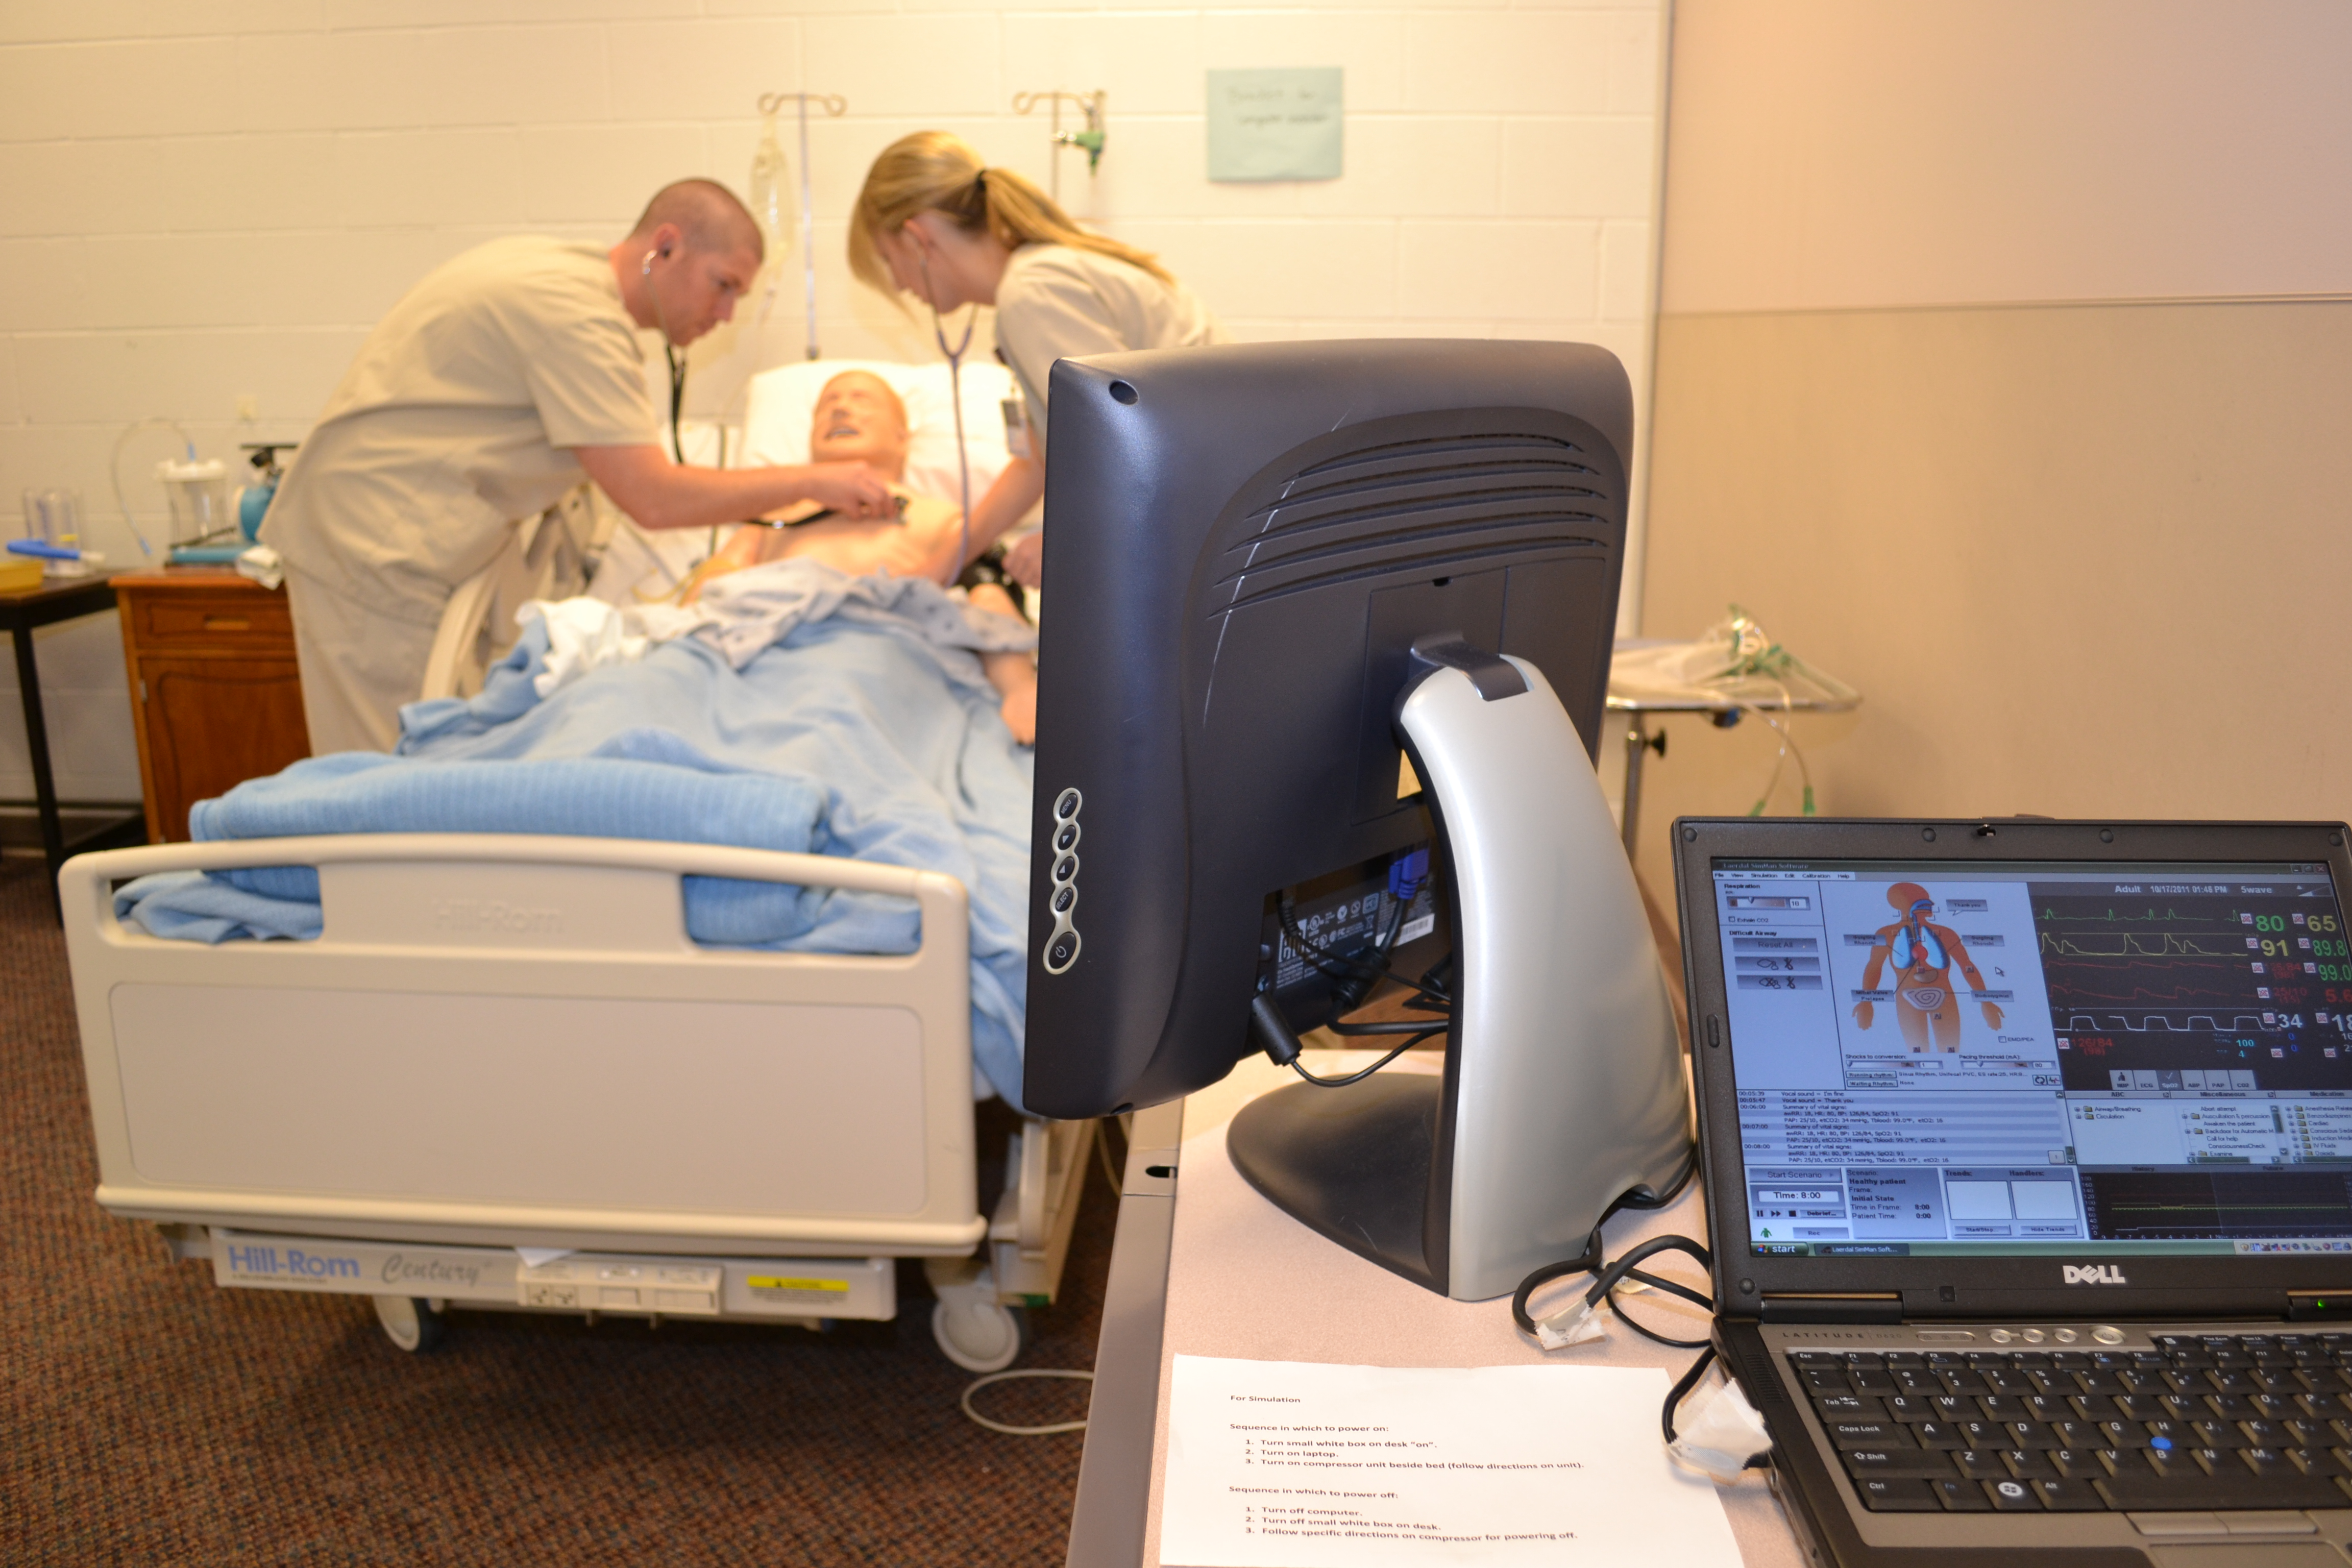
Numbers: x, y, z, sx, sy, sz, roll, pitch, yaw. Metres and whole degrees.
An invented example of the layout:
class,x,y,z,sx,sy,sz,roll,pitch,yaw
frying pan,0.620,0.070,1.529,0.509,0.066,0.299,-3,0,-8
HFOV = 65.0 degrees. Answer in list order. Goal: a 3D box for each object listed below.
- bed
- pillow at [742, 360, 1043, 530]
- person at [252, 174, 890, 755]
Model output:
class,x,y,z,sx,sy,sz,roll,pitch,yaw
bed,-0.832,0.304,3.015,1.366,1.247,1.029,0,14,4
pillow,-0.614,-0.804,4.102,0.642,0.472,0.189,4,-5,4
person,-1.164,-0.630,3.679,1.051,1.403,0.654,-1,52,-25
